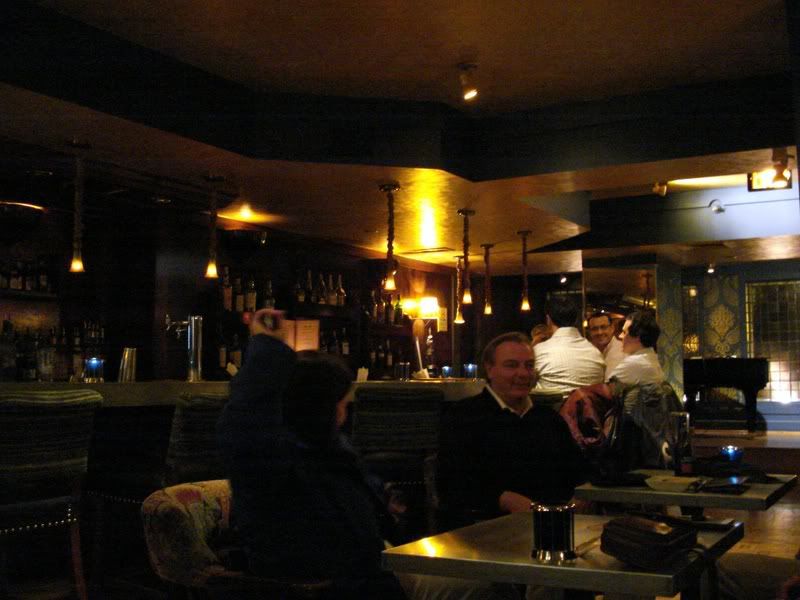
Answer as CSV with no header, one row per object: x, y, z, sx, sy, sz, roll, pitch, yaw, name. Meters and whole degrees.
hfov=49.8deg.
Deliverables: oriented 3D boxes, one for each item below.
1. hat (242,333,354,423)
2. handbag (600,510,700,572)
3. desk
-0.175,0.127,1.528,0.158,0.178,0.088,23,18,8,hat
0.404,0.380,1.383,0.114,0.045,0.088,-1,2,-44,handbag
0.372,0.422,1.499,0.712,0.213,0.345,1,-2,-33,desk
